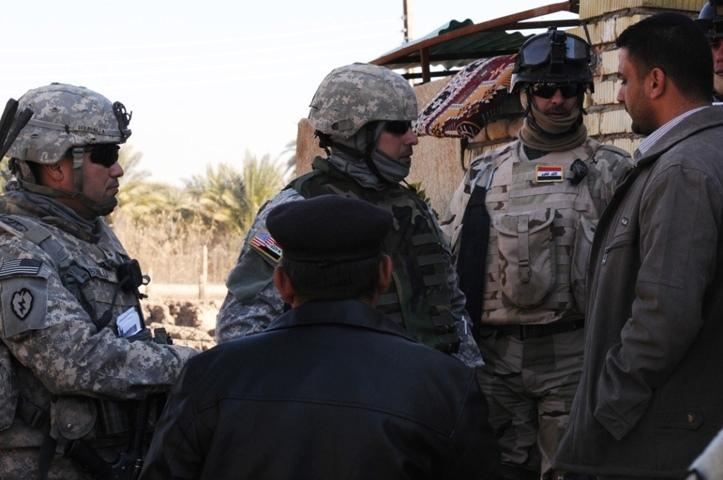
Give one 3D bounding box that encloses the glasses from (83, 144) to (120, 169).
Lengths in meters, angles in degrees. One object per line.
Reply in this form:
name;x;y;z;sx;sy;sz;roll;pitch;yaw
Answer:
glasses;-1.459;-0.484;5.990;0.133;0.088;0.177;3;-14;-28
